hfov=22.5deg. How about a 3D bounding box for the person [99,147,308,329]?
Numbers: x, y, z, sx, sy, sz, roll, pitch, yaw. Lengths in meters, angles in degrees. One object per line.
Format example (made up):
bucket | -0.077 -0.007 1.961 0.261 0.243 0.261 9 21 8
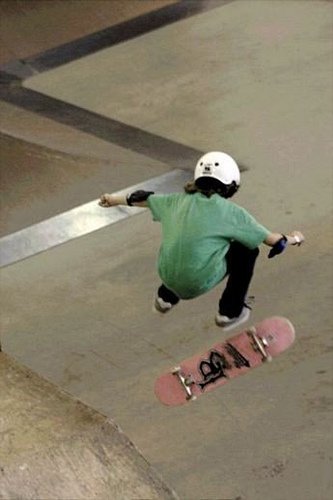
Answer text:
person | 0.116 -0.062 5.783 1.445 1.163 0.748 15 20 30

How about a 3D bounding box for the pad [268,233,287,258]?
pad | 0.739 -0.023 5.613 0.067 0.205 0.086 31 30 14

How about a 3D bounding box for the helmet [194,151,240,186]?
helmet | 0.336 -0.514 5.589 0.265 0.251 0.343 8 4 25

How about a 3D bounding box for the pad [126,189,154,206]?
pad | -0.189 -0.363 5.690 0.171 0.095 0.057 -20 -25 7
